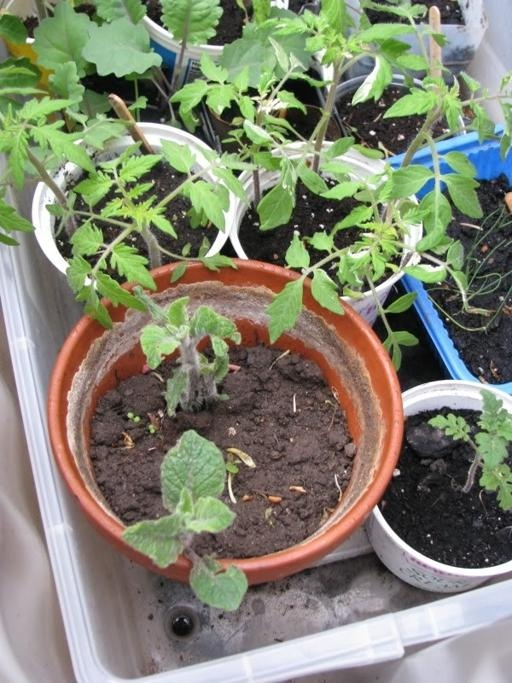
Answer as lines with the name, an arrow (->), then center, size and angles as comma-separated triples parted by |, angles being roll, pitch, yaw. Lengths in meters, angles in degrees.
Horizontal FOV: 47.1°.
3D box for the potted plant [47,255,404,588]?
potted plant -> -0.046, 0.198, 1.106 | 0.662, 0.285, 0.614 | 0, 63, -9
